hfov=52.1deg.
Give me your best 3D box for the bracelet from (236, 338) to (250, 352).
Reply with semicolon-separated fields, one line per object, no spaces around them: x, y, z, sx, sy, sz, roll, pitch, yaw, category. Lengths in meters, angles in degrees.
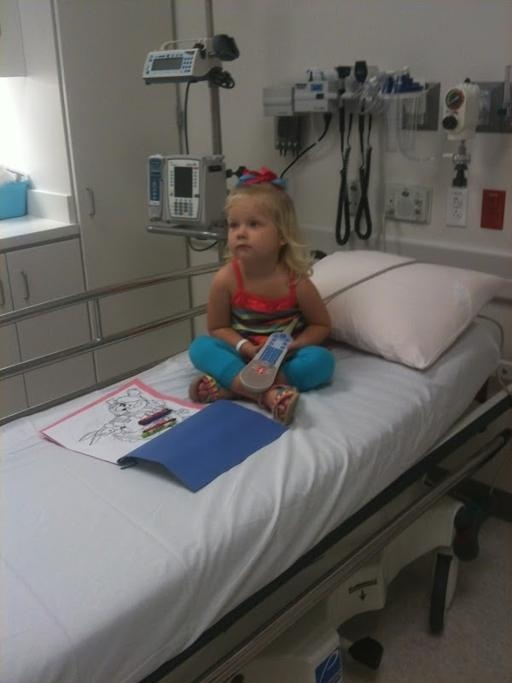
-0.033;0.009;1.292;0.008;0.028;0.028;31;3;-12;bracelet
